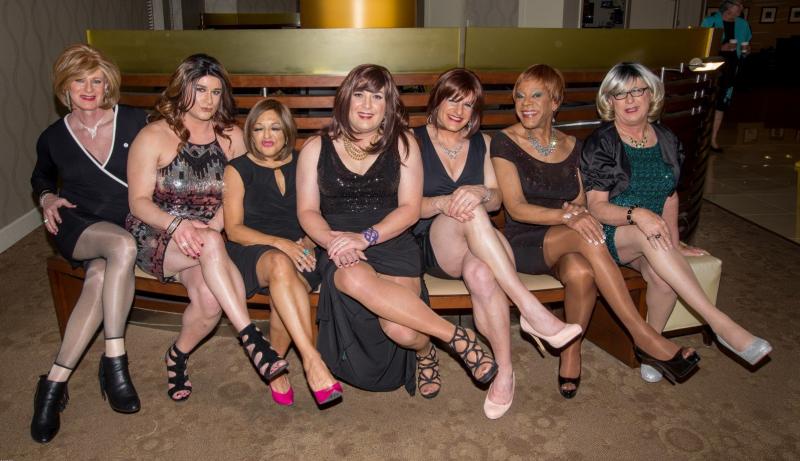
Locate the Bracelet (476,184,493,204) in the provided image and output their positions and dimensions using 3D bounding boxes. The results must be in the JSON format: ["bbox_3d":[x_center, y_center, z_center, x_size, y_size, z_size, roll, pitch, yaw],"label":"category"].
[{"bbox_3d":[0.554,-0.249,3.539,0.118,0.045,0.096,29,38,36],"label":"Bracelet"}]

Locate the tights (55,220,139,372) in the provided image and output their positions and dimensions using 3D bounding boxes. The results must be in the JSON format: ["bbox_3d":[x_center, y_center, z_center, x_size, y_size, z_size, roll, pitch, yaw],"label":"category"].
[{"bbox_3d":[-1.962,0.418,3.492,0.481,0.823,0.525,0,24,0],"label":"tights"}]

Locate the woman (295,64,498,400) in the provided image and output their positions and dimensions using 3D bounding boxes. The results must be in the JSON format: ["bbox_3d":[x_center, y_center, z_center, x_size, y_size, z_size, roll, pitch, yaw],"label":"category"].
[{"bbox_3d":[-0.130,0.048,3.424,0.965,2.056,1.040,-7,25,-15],"label":"woman"}]

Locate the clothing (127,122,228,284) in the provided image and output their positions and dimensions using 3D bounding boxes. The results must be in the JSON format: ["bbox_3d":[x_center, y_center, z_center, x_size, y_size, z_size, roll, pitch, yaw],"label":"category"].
[{"bbox_3d":[-1.480,-0.180,3.517,0.680,1.057,0.620,17,9,-24],"label":"clothing"}]

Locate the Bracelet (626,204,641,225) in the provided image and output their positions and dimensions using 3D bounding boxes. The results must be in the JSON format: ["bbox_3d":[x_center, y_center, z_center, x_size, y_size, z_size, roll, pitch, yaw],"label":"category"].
[{"bbox_3d":[1.584,-0.112,3.579,0.042,0.122,0.092,12,6,3],"label":"Bracelet"}]

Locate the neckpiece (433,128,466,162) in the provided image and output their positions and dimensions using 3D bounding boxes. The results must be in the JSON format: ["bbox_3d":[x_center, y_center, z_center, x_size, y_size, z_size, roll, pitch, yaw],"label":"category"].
[{"bbox_3d":[0.343,-0.613,3.615,0.169,0.244,0.056,-5,15,-3],"label":"neckpiece"}]

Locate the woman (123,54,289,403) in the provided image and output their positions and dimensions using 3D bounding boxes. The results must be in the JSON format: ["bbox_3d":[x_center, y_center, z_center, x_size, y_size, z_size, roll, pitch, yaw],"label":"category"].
[{"bbox_3d":[-1.310,0.008,3.492,0.835,2.154,1.155,-13,27,-27],"label":"woman"}]

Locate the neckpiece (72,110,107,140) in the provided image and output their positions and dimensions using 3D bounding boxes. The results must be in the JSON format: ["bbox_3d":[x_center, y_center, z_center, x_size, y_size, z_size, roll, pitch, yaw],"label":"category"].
[{"bbox_3d":[-2.127,-0.728,3.642,0.176,0.213,0.036,-4,0,-11],"label":"neckpiece"}]

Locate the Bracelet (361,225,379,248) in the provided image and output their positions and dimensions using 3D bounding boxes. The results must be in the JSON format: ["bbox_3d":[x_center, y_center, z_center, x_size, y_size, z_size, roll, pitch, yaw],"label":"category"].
[{"bbox_3d":[-0.185,0.033,3.426,0.088,0.125,0.049,7,-6,-4],"label":"Bracelet"}]

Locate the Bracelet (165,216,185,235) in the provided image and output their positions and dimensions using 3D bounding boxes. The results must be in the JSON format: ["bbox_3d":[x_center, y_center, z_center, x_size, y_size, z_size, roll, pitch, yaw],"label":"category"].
[{"bbox_3d":[-1.471,-0.041,3.463,0.027,0.103,0.101,40,31,-6],"label":"Bracelet"}]

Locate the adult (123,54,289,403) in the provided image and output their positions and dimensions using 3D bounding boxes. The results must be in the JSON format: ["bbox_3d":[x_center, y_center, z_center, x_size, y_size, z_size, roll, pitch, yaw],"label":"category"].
[{"bbox_3d":[-1.310,0.007,3.492,0.835,2.154,1.154,-13,27,-27],"label":"adult"}]

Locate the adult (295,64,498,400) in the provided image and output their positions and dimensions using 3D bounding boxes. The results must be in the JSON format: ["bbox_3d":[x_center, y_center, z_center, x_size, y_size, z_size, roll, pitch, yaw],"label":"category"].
[{"bbox_3d":[-0.130,0.050,3.420,0.951,2.056,1.055,-7,25,-16],"label":"adult"}]

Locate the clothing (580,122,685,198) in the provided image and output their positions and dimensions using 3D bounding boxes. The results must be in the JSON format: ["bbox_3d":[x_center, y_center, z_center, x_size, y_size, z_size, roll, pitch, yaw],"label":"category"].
[{"bbox_3d":[1.686,-0.521,3.818,0.733,0.562,0.373,-9,9,-2],"label":"clothing"}]

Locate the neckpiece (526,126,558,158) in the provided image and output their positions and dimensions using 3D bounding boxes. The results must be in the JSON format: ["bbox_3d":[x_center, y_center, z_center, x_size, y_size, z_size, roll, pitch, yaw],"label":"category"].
[{"bbox_3d":[1.030,-0.617,3.769,0.161,0.215,0.063,-10,-8,-17],"label":"neckpiece"}]
